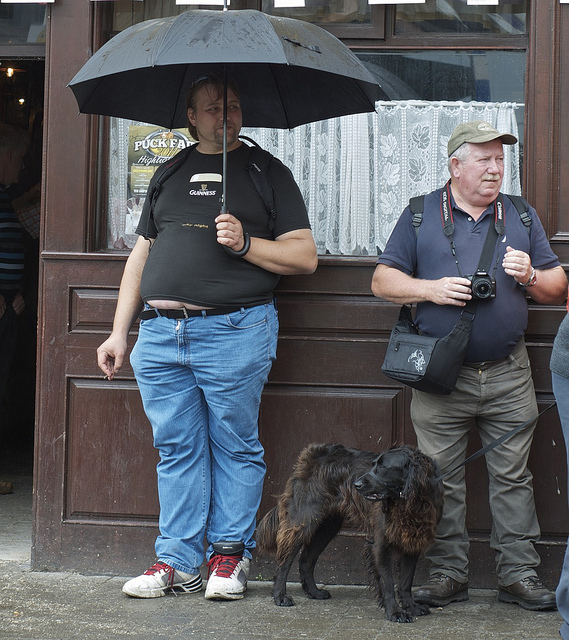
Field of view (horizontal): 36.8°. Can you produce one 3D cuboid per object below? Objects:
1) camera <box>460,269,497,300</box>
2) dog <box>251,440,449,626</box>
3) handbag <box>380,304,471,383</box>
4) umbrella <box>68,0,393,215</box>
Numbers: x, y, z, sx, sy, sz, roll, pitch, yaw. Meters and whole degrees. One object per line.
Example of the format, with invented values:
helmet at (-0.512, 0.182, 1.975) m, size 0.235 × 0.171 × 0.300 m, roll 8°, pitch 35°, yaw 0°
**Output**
camera at (0.732, -0.115, 3.262) m, size 0.162 × 0.132 × 0.096 m, roll -1°, pitch 0°, yaw -14°
dog at (0.269, 0.812, 3.339) m, size 0.411 × 0.718 × 0.687 m, roll -4°, pitch 5°, yaw -45°
handbag at (0.558, 0.095, 3.306) m, size 0.166 × 0.357 × 0.292 m, roll 37°, pitch -19°, yaw -36°
umbrella at (-0.249, -0.805, 3.435) m, size 1.159 × 0.785 × 0.998 m, roll 3°, pitch 5°, yaw 41°
